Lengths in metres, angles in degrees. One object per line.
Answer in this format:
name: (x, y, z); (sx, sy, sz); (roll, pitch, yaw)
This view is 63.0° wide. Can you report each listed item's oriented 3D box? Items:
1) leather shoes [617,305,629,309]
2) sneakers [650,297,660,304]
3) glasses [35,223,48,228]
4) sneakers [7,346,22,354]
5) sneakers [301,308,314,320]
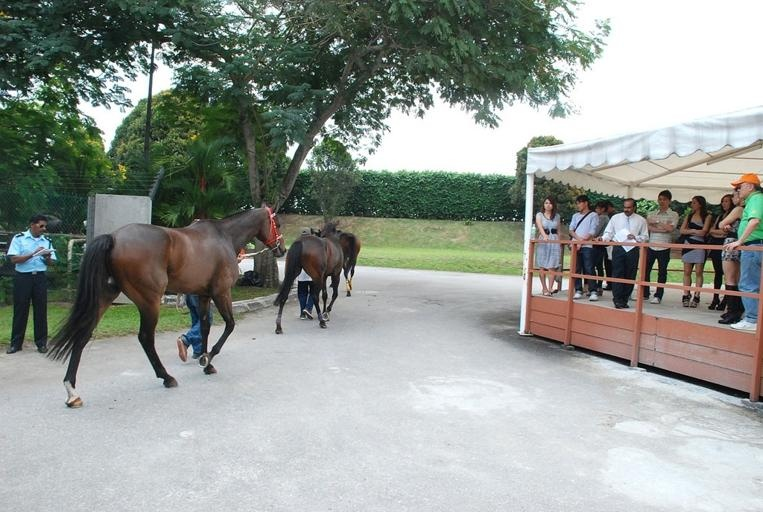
leather shoes: (4.802, 1.001, 12.363); (0.097, 0.101, 0.253); (2, -5, -27)
sneakers: (6.248, 1.010, 14.177); (0.105, 0.114, 0.295); (0, -3, 40)
glasses: (-6.241, -0.566, 11.400); (0.120, 0.065, 0.093); (-9, -5, 35)
sneakers: (-6.537, 1.653, 11.087); (0.223, 0.129, 0.221); (-4, 11, -31)
sneakers: (-1.773, 1.409, 15.113); (0.167, 0.161, 0.389); (23, -12, 29)
